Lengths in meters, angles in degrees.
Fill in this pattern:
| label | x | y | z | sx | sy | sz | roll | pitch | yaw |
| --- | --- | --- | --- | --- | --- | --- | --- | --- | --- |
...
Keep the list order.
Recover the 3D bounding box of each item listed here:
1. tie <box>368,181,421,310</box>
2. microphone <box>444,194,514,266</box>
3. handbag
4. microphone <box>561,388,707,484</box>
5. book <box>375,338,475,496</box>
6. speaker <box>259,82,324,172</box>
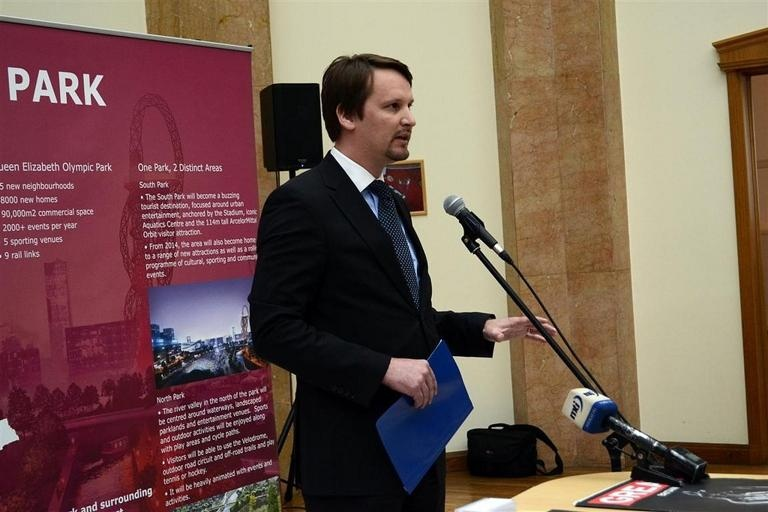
| label | x | y | z | sx | sy | sz | roll | pitch | yaw |
| --- | --- | --- | --- | --- | --- | --- | --- | --- | --- |
| tie | 0.031 | -0.106 | 2.442 | 0.121 | 0.631 | 0.100 | 5 | -36 | -39 |
| microphone | 0.629 | -0.179 | 4.142 | 0.133 | 0.603 | 0.125 | -39 | -5 | -26 |
| handbag | 0.924 | 1.464 | 4.747 | 0.505 | 0.296 | 0.470 | -12 | -21 | 41 |
| microphone | 0.932 | 0.654 | 2.347 | 0.496 | 0.320 | 0.112 | -2 | 4 | 17 |
| book | 0.156 | 0.554 | 2.250 | 0.422 | 0.488 | 0.101 | -7 | 6 | -44 |
| speaker | -0.550 | -0.880 | 4.010 | 0.299 | 0.553 | 0.311 | -5 | 33 | -10 |
